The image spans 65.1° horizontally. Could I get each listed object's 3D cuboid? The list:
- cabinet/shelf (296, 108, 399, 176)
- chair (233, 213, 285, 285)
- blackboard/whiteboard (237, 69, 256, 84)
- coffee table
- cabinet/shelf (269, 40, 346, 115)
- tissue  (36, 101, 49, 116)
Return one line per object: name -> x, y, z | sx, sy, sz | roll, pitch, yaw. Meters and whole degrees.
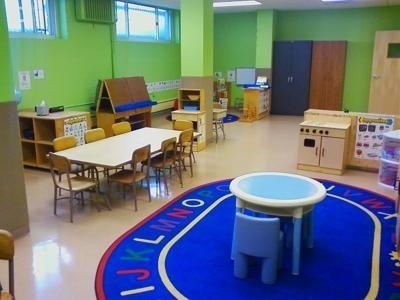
cabinet/shelf -> 2.996, -0.150, 6.640 | 1.743, 1.240, 0.650 | 5, 17, 23
chair -> 0.710, 1.025, 3.819 | 0.648, 0.943, 0.696 | 4, 17, 17
blackboard/whiteboard -> 1.932, -3.111, 13.321 | 0.891, 0.684, 0.200 | 9, 19, 34
coffee table -> 0.966, 0.731, 3.978 | 1.102, 0.863, 1.141 | 4, 13, 22
cabinet/shelf -> 4.072, -2.781, 11.606 | 2.973, 3.471, 1.164 | 6, 12, 23
tissue  -> -3.349, -0.899, 6.803 | 0.226, 0.336, 0.327 | -2, 7, -21
